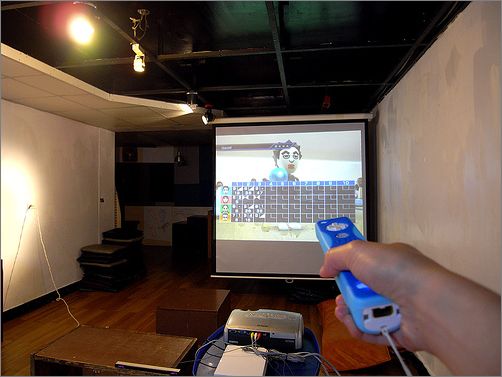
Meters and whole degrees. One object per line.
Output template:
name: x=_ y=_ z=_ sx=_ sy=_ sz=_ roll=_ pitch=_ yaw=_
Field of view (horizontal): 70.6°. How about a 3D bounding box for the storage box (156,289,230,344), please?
storage box: x=-0.510 y=1.079 z=3.239 sx=0.512 sy=0.391 sz=0.539 roll=4 pitch=1 yaw=6
